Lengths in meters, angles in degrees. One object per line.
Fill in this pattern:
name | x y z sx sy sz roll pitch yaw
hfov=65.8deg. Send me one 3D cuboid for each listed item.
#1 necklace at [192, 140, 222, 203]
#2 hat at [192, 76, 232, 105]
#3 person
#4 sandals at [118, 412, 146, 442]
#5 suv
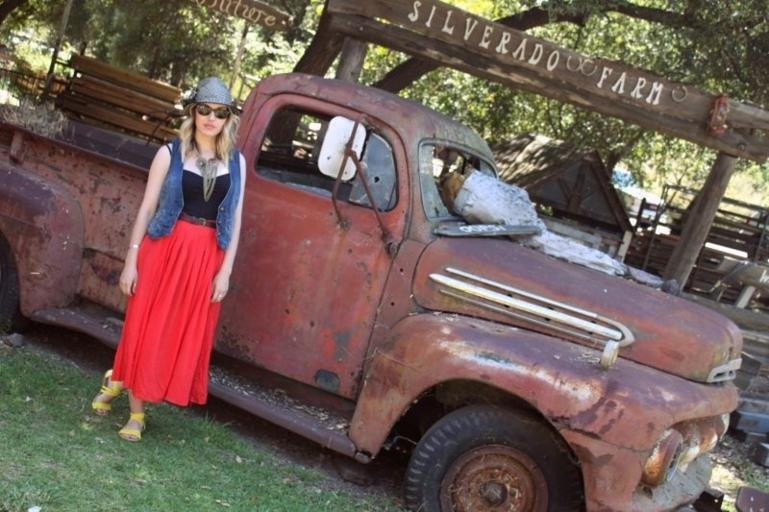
necklace | -1.413 -0.632 4.674 0.177 0.360 0.106 12 9 -19
hat | -1.346 -1.297 4.685 0.295 0.232 0.213 13 9 -19
person | -1.630 0.056 4.727 0.811 2.957 0.396 12 9 -16
sandals | -2.043 1.378 4.812 0.119 0.131 0.316 2 -8 -5
suv | 4.884 -2.013 14.237 2.705 1.480 3.927 3 11 -14
